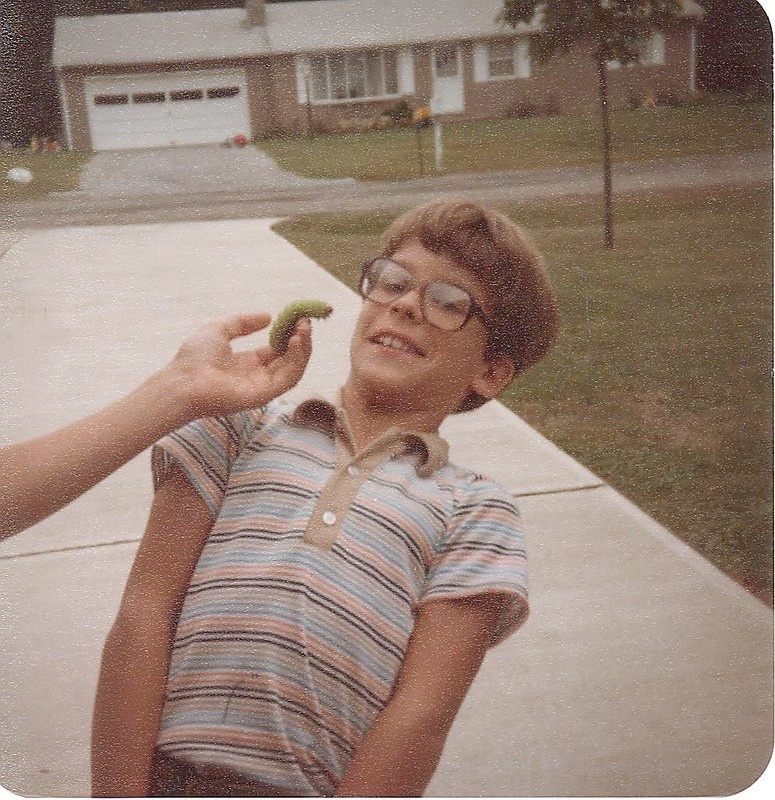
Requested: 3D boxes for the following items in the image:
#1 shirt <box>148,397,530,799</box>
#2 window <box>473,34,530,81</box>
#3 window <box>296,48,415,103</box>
[{"bbox_3d":[-0.121,0.356,1.890,0.769,0.642,0.269,25,-14,10],"label":"shirt"},{"bbox_3d":[0.240,-0.704,2.079,0.130,0.066,0.015,-3,5,1],"label":"window"},{"bbox_3d":[-0.040,-0.665,2.070,0.365,0.131,0.019,12,26,35],"label":"window"}]
